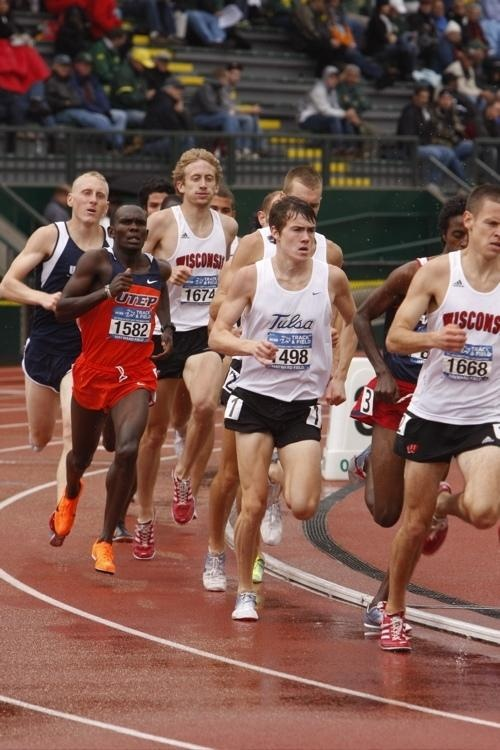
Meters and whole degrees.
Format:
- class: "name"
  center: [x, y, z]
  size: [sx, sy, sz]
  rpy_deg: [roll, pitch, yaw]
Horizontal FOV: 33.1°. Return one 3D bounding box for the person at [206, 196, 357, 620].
- class: "person"
  center: [0.122, 0.190, 4.239]
  size: [0.672, 2.153, 0.969]
  rpy_deg: [7, 14, 6]
